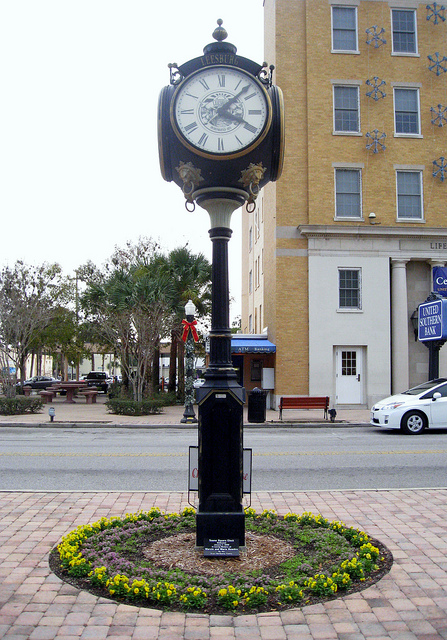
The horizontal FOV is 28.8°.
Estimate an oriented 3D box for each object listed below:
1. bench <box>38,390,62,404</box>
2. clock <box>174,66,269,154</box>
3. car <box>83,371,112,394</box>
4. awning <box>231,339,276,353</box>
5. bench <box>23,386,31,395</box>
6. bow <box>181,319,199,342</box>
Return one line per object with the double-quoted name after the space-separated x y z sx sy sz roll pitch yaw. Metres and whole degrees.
-6.880 2.932 34.142 0.694 0.355 0.693 2 -6 -29 "bench"
-0.020 -1.771 7.425 0.824 0.883 0.059 0 -19 0 "clock"
-6.836 3.234 47.720 1.242 1.012 2.948 0 2 -2 "car"
0.895 0.804 27.592 1.101 0.432 2.262 2 -2 -27 "awning"
-8.106 2.924 35.920 0.228 0.325 1.714 1 -2 -14 "bench"
-0.898 0.270 22.958 0.369 0.581 1.133 1 -2 -2 "bow"
